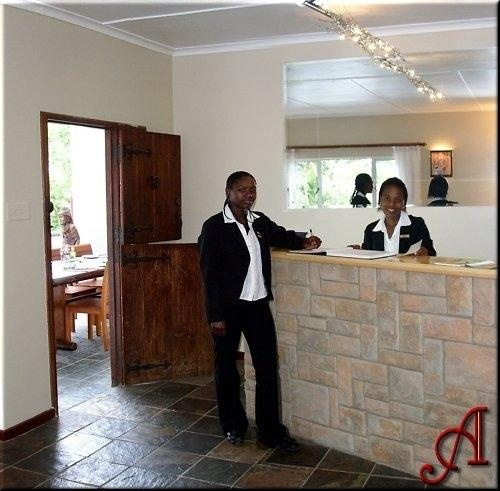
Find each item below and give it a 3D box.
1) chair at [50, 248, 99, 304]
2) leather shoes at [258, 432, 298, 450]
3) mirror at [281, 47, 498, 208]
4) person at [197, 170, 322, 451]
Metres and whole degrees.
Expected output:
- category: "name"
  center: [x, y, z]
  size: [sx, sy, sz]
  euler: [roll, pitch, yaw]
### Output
- category: "chair"
  center: [-2.135, 0.387, 5.251]
  size: [0.272, 0.472, 0.662]
  euler: [1, 4, 13]
- category: "leather shoes"
  center: [0.181, 1.187, 2.614]
  size: [0.242, 0.097, 0.092]
  euler: [-2, -1, 18]
- category: "mirror"
  center: [1.253, -1.022, 3.623]
  size: [1.616, 1.132, 0.033]
  euler: [1, 3, 19]
- category: "person"
  center: [0.023, 0.398, 2.638]
  size: [0.630, 1.228, 0.383]
  euler: [-3, 1, -8]
